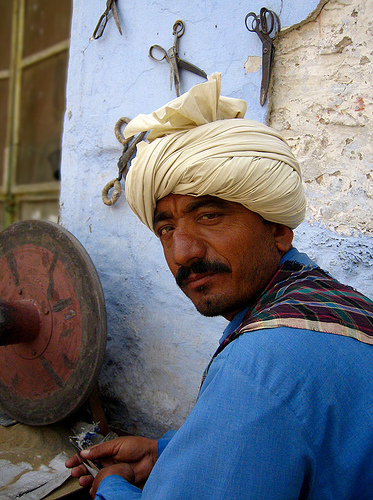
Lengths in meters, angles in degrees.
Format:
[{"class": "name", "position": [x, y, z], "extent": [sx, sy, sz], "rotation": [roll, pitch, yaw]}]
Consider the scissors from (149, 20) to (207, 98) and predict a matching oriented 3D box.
[{"class": "scissors", "position": [-0.011, -0.794, 2.353], "extent": [0.215, 0.357, 0.044], "rotation": [-30, -22, 32]}]

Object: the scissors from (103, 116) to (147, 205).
[{"class": "scissors", "position": [-0.270, -0.402, 2.528], "extent": [0.215, 0.387, 0.160], "rotation": [8, 27, 25]}]
